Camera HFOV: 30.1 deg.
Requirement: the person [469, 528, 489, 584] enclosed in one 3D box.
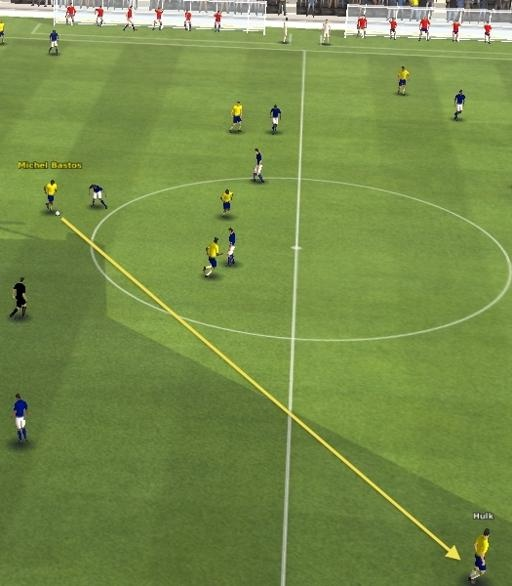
[{"bbox_3d":[5.728,6.676,24.363,0.424,1.531,0.798,7,25,16],"label":"person"}]
